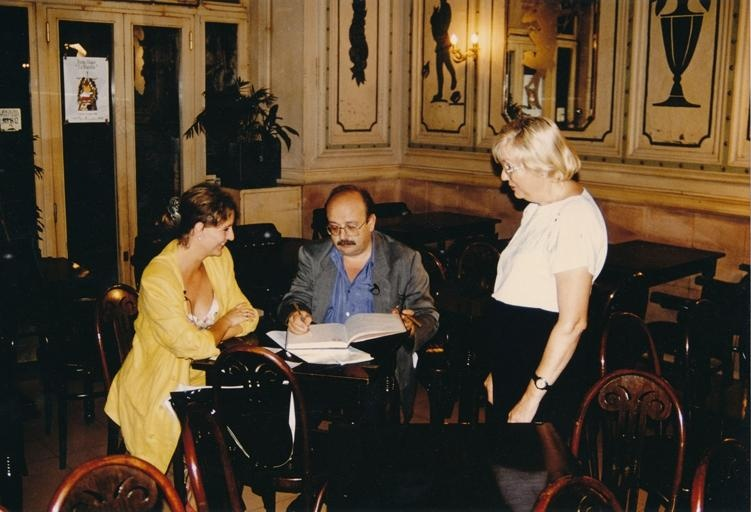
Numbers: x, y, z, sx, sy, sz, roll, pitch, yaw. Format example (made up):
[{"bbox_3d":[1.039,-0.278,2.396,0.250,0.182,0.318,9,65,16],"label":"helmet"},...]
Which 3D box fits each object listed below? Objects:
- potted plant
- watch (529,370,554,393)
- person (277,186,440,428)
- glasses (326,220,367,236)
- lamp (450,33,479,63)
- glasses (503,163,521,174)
[{"bbox_3d":[-1.396,-1.252,6.718,1.095,1.086,0.681,-4,11,-24],"label":"potted plant"},{"bbox_3d":[0.684,0.513,2.721,0.090,0.062,0.098,4,22,-33],"label":"watch"},{"bbox_3d":[-0.126,0.395,3.559,0.744,1.498,0.814,11,21,27],"label":"person"},{"bbox_3d":[-0.163,-0.141,3.394,0.216,0.069,0.125,2,10,11],"label":"glasses"},{"bbox_3d":[0.946,-2.225,6.959,0.329,0.285,0.110,5,9,44],"label":"lamp"},{"bbox_3d":[0.578,-0.373,2.796,0.040,0.015,0.041,21,-24,14],"label":"glasses"}]
